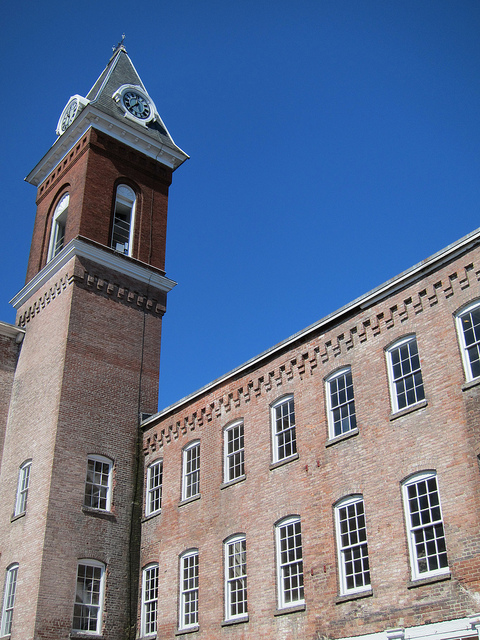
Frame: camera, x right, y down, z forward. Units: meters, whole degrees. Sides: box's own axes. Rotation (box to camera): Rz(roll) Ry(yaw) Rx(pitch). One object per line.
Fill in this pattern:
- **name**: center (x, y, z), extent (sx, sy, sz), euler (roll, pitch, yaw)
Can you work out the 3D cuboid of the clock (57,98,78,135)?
- **clock**: center (-8.120, -9.595, 31.001), extent (0.113, 1.648, 2.145), euler (18, -36, -32)
